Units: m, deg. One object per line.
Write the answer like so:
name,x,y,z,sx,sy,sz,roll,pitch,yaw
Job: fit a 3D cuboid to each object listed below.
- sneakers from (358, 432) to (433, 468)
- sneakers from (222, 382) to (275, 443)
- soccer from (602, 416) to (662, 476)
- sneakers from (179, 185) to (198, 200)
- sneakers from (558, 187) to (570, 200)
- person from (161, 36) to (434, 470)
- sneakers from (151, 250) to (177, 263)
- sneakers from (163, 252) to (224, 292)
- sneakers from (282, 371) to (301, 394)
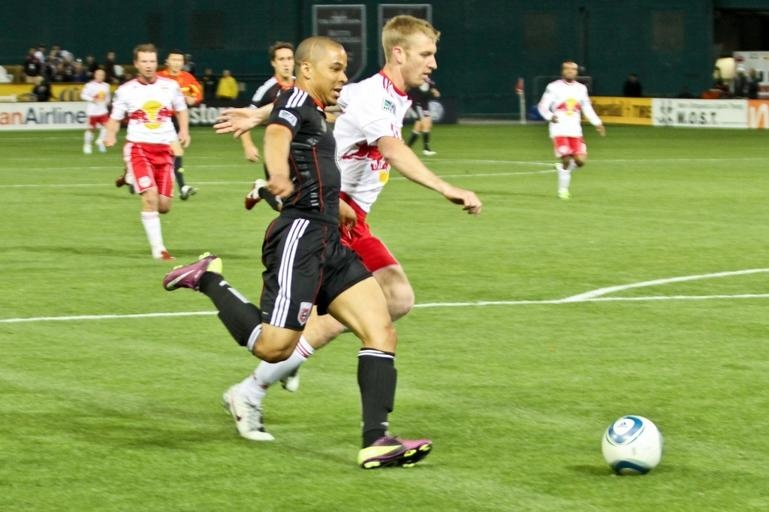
sneakers,0.012,1.073,5.622,0.477,0.159,0.145,-8,10,-22
sneakers,-0.862,0.897,6.056,0.300,0.185,0.619,18,11,-20
soccer,1.413,1.080,5.568,0.296,0.313,0.212,-3,6,-25
sneakers,-3.129,-1.018,15.655,0.200,0.166,0.497,-8,-4,-38
sneakers,2.912,-1.000,15.818,0.189,0.056,0.186,0,34,9
person,-0.442,-0.043,5.834,0.817,2.493,1.286,-5,7,-33
sneakers,-2.467,0.006,10.997,0.245,0.072,0.129,-2,-2,44
sneakers,-1.242,0.108,6.260,0.423,0.139,0.211,-15,10,-10
sneakers,-0.589,0.805,6.281,0.109,0.081,0.234,0,-6,-3
